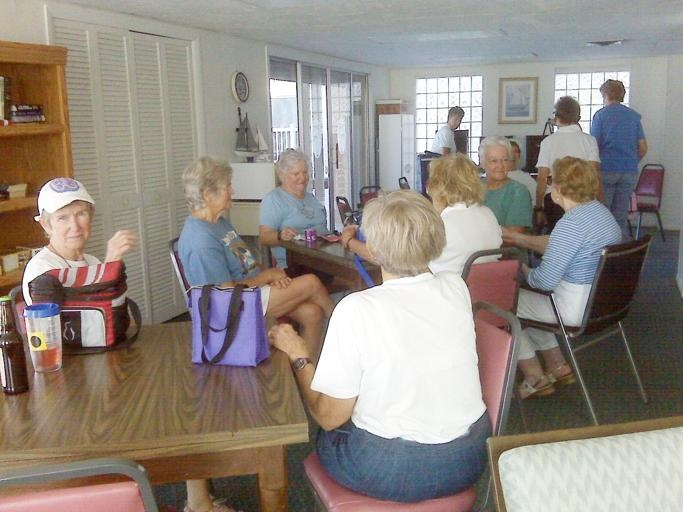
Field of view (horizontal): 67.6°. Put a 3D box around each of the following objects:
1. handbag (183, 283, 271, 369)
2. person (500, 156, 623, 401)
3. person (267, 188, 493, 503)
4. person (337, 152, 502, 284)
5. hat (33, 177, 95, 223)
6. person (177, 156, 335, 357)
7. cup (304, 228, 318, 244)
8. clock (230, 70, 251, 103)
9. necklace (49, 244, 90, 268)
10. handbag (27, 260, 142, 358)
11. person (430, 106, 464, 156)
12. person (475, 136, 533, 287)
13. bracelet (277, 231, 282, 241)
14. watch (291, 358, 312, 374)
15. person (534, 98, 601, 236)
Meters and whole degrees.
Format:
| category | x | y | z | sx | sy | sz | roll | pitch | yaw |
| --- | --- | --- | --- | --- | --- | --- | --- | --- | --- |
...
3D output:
| category | x | y | z | sx | sy | sz | roll | pitch | yaw |
| --- | --- | --- | --- | --- | --- | --- | --- | --- | --- |
| handbag | -0.359 | 0.215 | 1.633 | 0.236 | 0.253 | 0.135 | 1 | 10 | 20 |
| person | 1.189 | 0.164 | 2.842 | 0.564 | 1.402 | 0.454 | 11 | 20 | 38 |
| person | 0.142 | 0.262 | 1.643 | 0.711 | 0.875 | 0.633 | 11 | 20 | 43 |
| person | 0.406 | -0.229 | 2.672 | 0.726 | 0.391 | 0.529 | -9 | 18 | 5 |
| hat | -1.043 | -0.223 | 1.954 | 0.216 | 0.155 | 0.285 | -8 | -5 | -41 |
| person | -0.343 | 0.059 | 2.657 | 0.882 | 1.202 | 0.563 | -6 | 13 | 0 |
| cup | -0.192 | -0.129 | 3.262 | 0.084 | 0.165 | 0.087 | -1 | 8 | 0 |
| clock | -1.018 | -1.731 | 5.211 | 0.059 | 0.267 | 0.260 | 3 | 13 | 15 |
| necklace | -1.022 | 0.011 | 1.953 | 0.101 | 0.051 | 0.132 | -3 | 28 | -45 |
| handbag | -0.905 | 0.137 | 1.790 | 0.371 | 0.342 | 0.374 | 1 | 1 | -25 |
| person | 1.456 | -1.740 | 7.084 | 0.386 | 0.642 | 0.884 | 1 | 16 | 10 |
| person | 1.077 | -0.274 | 3.557 | 0.446 | 1.054 | 0.439 | 9 | 22 | 41 |
| bracelet | -0.414 | -0.140 | 3.452 | 0.025 | 0.055 | 0.047 | 4 | 8 | -12 |
| watch | -0.127 | 0.353 | 1.626 | 0.049 | 0.022 | 0.051 | -7 | 5 | 39 |
| person | 1.843 | -0.537 | 4.248 | 0.444 | 1.531 | 0.425 | -4 | 20 | 9 |
